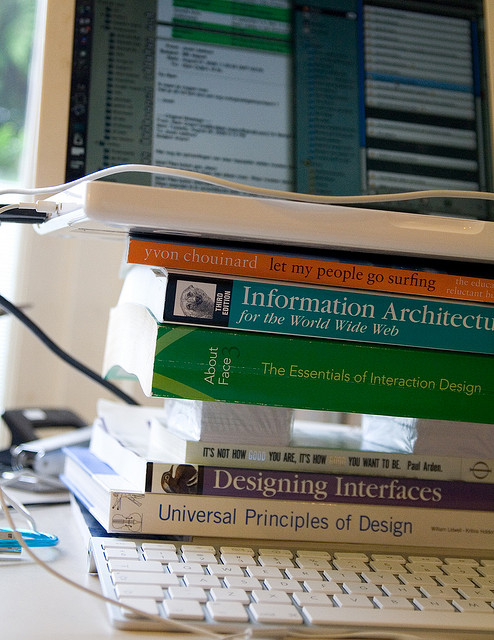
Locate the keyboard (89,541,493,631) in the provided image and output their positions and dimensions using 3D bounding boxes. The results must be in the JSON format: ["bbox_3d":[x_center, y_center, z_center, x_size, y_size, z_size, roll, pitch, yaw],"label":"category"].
[{"bbox_3d":[0.044,0.154,0.479,0.259,0.022,0.124,3,0,-16],"label":"keyboard"}]
